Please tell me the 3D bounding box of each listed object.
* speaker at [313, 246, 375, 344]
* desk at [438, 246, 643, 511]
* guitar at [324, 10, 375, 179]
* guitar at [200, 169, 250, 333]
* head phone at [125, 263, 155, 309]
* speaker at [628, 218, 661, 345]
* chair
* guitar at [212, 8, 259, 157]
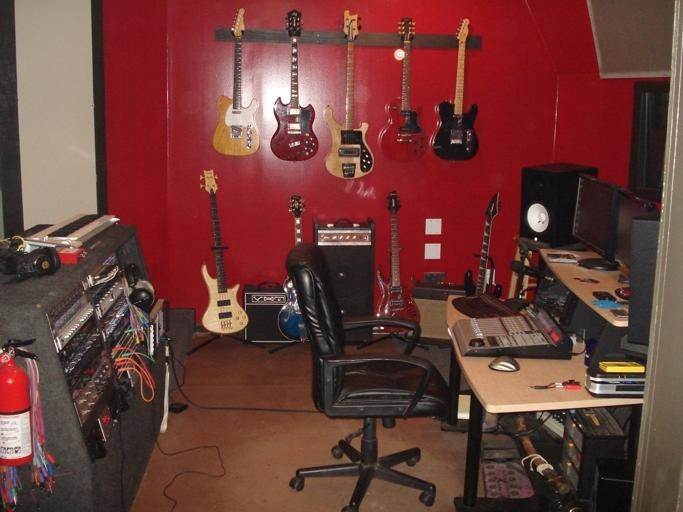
[{"bbox_3d":[0.074,0.261,4.754,0.466,1.039,0.525,-1,15,-1],"label":"speaker"},{"bbox_3d":[1.070,0.692,3.144,0.724,0.889,1.220,0,12,3],"label":"desk"},{"bbox_3d":[0.054,-1.329,4.959,0.407,1.376,0.159,0,10,3],"label":"guitar"},{"bbox_3d":[-1.001,-0.001,5.009,0.374,1.429,0.471,-3,11,-10],"label":"guitar"},{"bbox_3d":[-1.072,0.158,3.148,0.145,0.221,0.069,-25,12,-23],"label":"head phone"},{"bbox_3d":[1.363,0.128,2.711,0.104,0.584,0.125,4,12,27],"label":"speaker"},{"bbox_3d":[0.107,0.600,3.388,0.856,1.423,1.072,-2,11,-6],"label":"chair"},{"bbox_3d":[-0.890,-1.413,4.880,0.386,1.183,0.202,-3,11,-10],"label":"guitar"}]
